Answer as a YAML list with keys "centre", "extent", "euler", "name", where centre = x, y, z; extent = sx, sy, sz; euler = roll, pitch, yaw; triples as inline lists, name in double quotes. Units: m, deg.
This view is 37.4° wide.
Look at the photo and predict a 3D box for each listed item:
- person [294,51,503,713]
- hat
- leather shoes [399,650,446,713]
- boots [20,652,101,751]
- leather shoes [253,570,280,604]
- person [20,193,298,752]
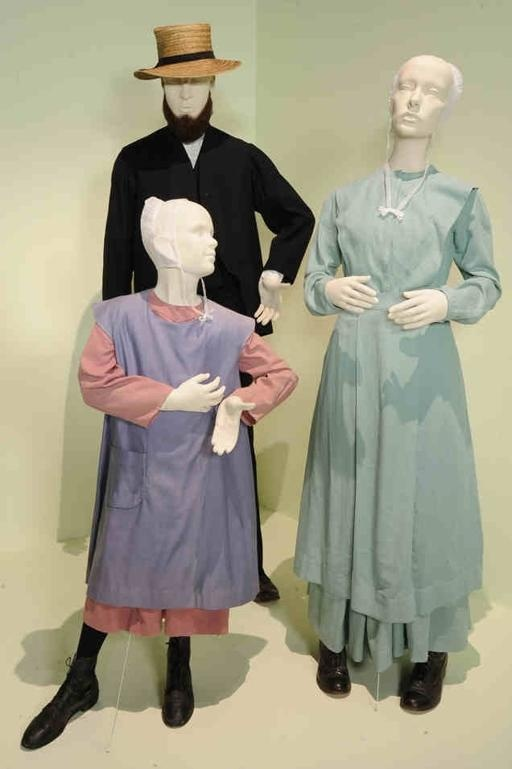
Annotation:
- centre: [0.368, 0.015, 2.034]
  extent: [0.528, 1.703, 0.385]
  euler: [4, 14, 11]
  name: "person"
- centre: [-0.220, -0.961, 2.181]
  extent: [0.290, 0.144, 0.291]
  euler: [13, 27, 38]
  name: "hat"
- centre: [0.455, 0.813, 2.079]
  extent: [0.081, 0.078, 0.204]
  euler: [-1, 11, 24]
  name: "leather shoes"
- centre: [-0.486, 0.791, 1.986]
  extent: [0.101, 0.195, 0.290]
  euler: [27, 32, 27]
  name: "boots"
- centre: [0.039, 0.724, 2.711]
  extent: [0.110, 0.042, 0.166]
  euler: [7, 18, -11]
  name: "leather shoes"
- centre: [-0.235, 0.221, 1.889]
  extent: [0.681, 1.338, 0.304]
  euler: [-2, 14, -12]
  name: "person"
